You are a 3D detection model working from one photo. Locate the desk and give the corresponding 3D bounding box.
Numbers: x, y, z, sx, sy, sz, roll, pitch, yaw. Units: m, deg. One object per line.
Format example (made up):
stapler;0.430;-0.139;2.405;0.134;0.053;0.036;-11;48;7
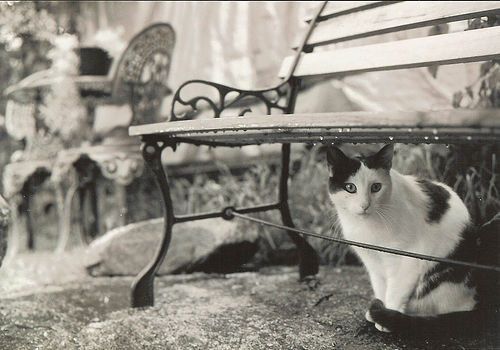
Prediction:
desk;-1.259;-0.130;4.684;0.818;1.099;0.435;-9;12;-31
